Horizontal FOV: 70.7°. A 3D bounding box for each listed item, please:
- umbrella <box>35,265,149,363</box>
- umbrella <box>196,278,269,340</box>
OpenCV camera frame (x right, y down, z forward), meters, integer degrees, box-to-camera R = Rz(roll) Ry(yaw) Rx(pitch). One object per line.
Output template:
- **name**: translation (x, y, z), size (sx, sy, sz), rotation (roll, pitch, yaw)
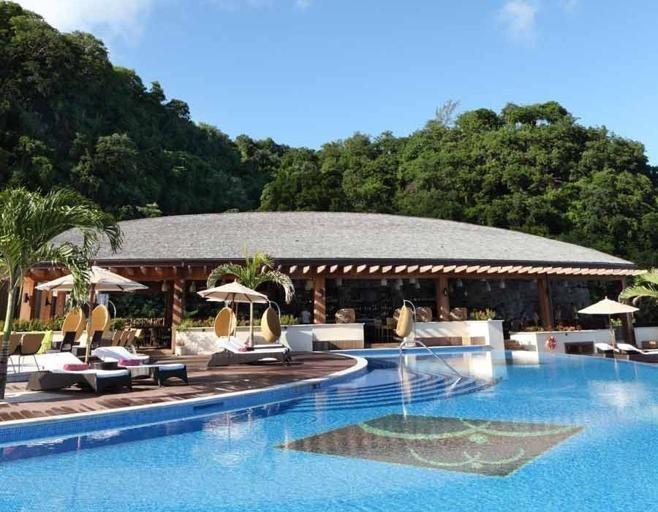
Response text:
- **umbrella**: translation (-6.701, 1.488, 13.015), size (3.065, 2.606, 2.816), rotation (2, -7, -17)
- **umbrella**: translation (-2.937, 1.583, 14.226), size (1.889, 1.227, 1.913), rotation (-5, -16, 26)
